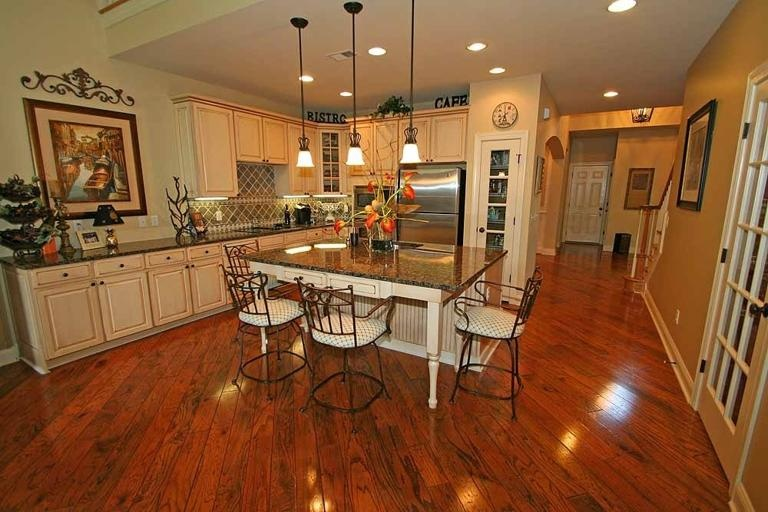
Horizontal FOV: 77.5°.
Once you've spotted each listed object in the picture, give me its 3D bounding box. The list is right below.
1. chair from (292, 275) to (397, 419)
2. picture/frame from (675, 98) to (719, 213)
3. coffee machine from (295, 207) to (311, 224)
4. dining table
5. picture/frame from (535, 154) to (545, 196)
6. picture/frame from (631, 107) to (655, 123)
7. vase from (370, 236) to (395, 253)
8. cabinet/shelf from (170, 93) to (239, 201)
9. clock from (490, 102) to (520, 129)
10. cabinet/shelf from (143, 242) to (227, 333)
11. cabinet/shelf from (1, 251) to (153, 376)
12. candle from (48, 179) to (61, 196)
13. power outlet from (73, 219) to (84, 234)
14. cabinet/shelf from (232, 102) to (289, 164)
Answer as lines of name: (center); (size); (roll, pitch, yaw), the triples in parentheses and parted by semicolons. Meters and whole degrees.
chair: (-0.379, 0.931, 4.797); (0.852, 1.650, 0.934); (9, 22, 26)
picture/frame: (3.468, -1.097, 5.284); (0.205, 1.170, 0.998); (5, 15, 25)
coffee machine: (-1.296, -0.653, 7.770); (0.285, 0.295, 0.207); (-9, 15, -27)
dining table: (0.276, 0.285, 5.205); (2.314, 1.203, 1.652); (5, 12, 28)
picture/frame: (2.259, -1.161, 6.915); (0.043, 0.555, 0.734); (4, 14, 24)
picture/frame: (5.124, -2.750, 9.476); (0.375, 0.270, 0.286); (-10, 16, -33)
vase: (-0.024, -0.134, 5.278); (0.182, 0.120, 0.187); (6, 11, 33)
cabinet/shelf: (-2.336, -1.396, 6.312); (0.748, 1.260, 0.350); (-6, 14, -18)
clock: (1.666, -1.908, 6.469); (0.345, 0.361, 0.049); (8, 18, 23)
cabinet/shelf: (-2.496, 0.387, 5.889); (0.489, 0.952, 0.955); (4, 10, 29)
cabinet/shelf: (-3.390, 0.584, 5.333); (1.339, 1.168, 0.460); (-9, 15, -29)
candle: (-3.735, -0.771, 5.416); (0.081, 0.184, 0.129); (11, 18, 43)
power outlet: (-3.574, -0.352, 5.576); (0.042, 0.172, 0.159); (-3, 3, 40)
cabinet/shelf: (-1.786, -1.678, 6.895); (0.578, 0.703, 1.018); (7, 13, 23)
